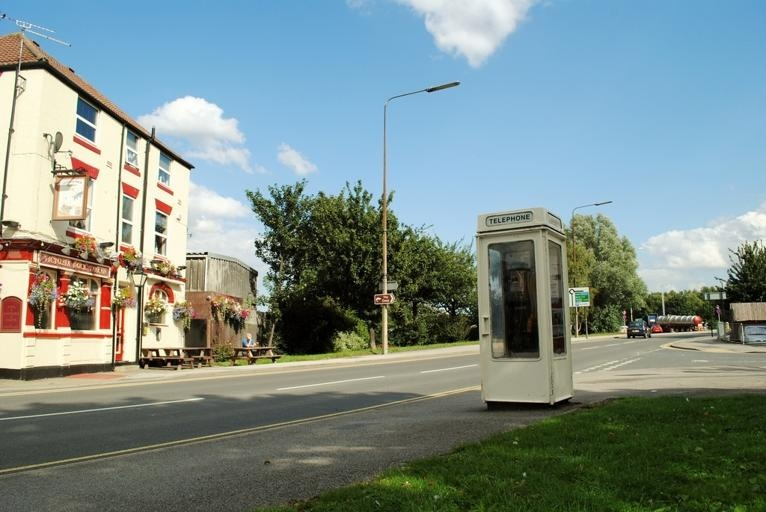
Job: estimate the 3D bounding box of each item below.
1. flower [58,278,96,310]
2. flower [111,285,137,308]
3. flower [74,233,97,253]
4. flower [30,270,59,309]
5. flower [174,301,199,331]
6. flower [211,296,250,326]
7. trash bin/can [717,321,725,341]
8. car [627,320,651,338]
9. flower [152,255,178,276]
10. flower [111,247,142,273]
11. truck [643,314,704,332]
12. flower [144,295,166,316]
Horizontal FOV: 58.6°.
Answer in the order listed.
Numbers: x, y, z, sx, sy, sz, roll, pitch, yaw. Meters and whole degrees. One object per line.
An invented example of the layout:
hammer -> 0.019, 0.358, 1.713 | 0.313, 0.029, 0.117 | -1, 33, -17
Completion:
flower -> -10.825, 1.334, 24.419 | 0.986, 0.920, 1.040 | 3, -4, 2
flower -> -10.342, 1.598, 27.324 | 0.840, 0.654, 0.780 | 2, -6, -16
flower -> -10.841, -0.486, 24.858 | 0.620, 0.491, 0.608 | 6, -15, -43
flower -> -11.343, 1.061, 22.802 | 0.518, 1.277, 0.972 | -3, -10, 4
flower -> -9.055, 2.710, 31.501 | 1.115, 1.617, 1.272 | 1, -3, -19
flower -> -7.841, 2.618, 34.570 | 1.107, 0.613, 1.504 | 7, -20, 8
trash bin/can -> 25.016, 5.438, 50.305 | 0.569, 1.373, 3.098 | -7, -12, 27
car -> 23.247, 6.541, 61.926 | 1.358, 1.080, 3.193 | -3, -4, 24
flower -> -9.740, 0.364, 30.436 | 0.688, 0.412, 0.845 | 33, 0, 36
flower -> -10.440, 0.131, 27.921 | 0.959, 0.718, 0.848 | 8, -5, 4
truck -> 40.418, 9.222, 94.876 | 2.261, 2.359, 6.291 | 3, -14, -44
flower -> -9.848, 2.037, 29.699 | 0.786, 0.852, 0.788 | -3, -18, -3
